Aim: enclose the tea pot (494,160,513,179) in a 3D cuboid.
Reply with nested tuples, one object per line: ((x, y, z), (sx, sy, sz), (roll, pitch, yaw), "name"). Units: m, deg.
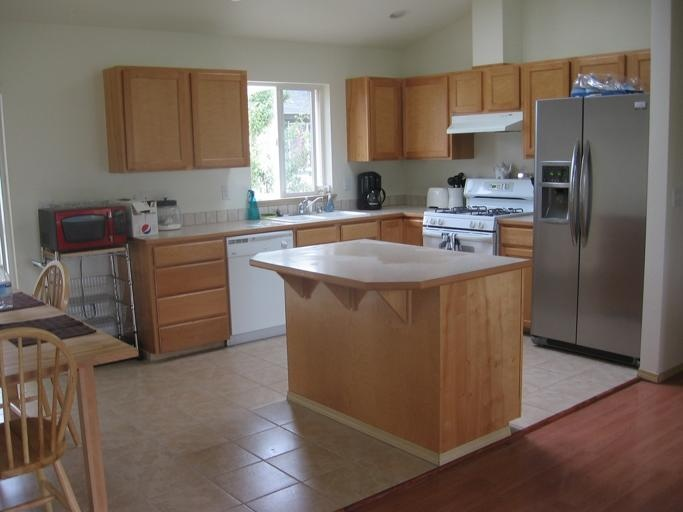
((1.721, -0.920, 5.554), (0.165, 0.171, 0.191), (4, 13, 24), "tea pot")

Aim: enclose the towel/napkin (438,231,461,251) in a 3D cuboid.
((1.049, -0.154, 5.023), (0.112, 0.203, 0.203), (-9, 7, -44), "towel/napkin")

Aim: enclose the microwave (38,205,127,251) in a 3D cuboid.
((-2.170, -0.246, 4.364), (0.600, 0.353, 0.377), (-8, 14, -40), "microwave")

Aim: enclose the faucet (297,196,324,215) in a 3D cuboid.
((-0.346, -0.570, 5.796), (0.300, 0.211, 0.157), (-5, 11, -26), "faucet")

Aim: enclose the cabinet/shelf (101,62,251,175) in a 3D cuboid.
((-1.467, -1.274, 4.851), (1.223, 0.887, 0.448), (-9, 19, -30), "cabinet/shelf")

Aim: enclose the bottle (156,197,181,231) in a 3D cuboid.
((-1.617, -0.379, 4.843), (0.262, 0.296, 0.266), (-3, 5, -19), "bottle")

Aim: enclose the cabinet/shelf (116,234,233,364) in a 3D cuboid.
((-1.488, 0.308, 4.835), (0.812, 1.089, 0.704), (-6, 15, -27), "cabinet/shelf")

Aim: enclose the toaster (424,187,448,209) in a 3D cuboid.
((1.092, -0.647, 6.074), (0.296, 0.291, 0.221), (3, 6, 37), "toaster")

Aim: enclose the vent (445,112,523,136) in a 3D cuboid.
((1.426, -1.370, 5.308), (0.200, 0.187, 0.808), (-12, 15, -41), "vent")

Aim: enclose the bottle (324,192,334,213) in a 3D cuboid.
((-0.136, -0.630, 5.936), (0.100, 0.212, 0.195), (2, 12, 16), "bottle")

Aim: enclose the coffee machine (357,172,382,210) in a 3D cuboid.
((0.329, -0.772, 6.184), (0.297, 0.451, 0.292), (-2, 3, -38), "coffee machine")

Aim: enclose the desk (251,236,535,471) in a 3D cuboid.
((0.219, 0.566, 3.492), (1.207, 1.080, 1.548), (-6, 7, -42), "desk")

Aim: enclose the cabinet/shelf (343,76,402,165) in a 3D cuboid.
((0.400, -1.602, 6.073), (0.585, 0.935, 0.404), (-13, 17, -38), "cabinet/shelf")

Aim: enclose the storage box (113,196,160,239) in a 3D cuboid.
((-1.741, -0.321, 4.486), (0.411, 0.325, 0.222), (7, 10, 44), "storage box")

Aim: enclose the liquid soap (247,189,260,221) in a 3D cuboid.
((-0.933, -0.536, 5.390), (0.141, 0.306, 0.236), (-3, 12, -9), "liquid soap")

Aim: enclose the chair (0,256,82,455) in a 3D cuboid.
((-1.812, 0.341, 3.110), (0.300, 0.539, 0.345), (28, 32, 33), "chair")

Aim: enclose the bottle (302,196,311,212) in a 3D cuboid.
((-0.398, -0.574, 5.754), (0.111, 0.181, 0.134), (-1, 5, -9), "bottle")
